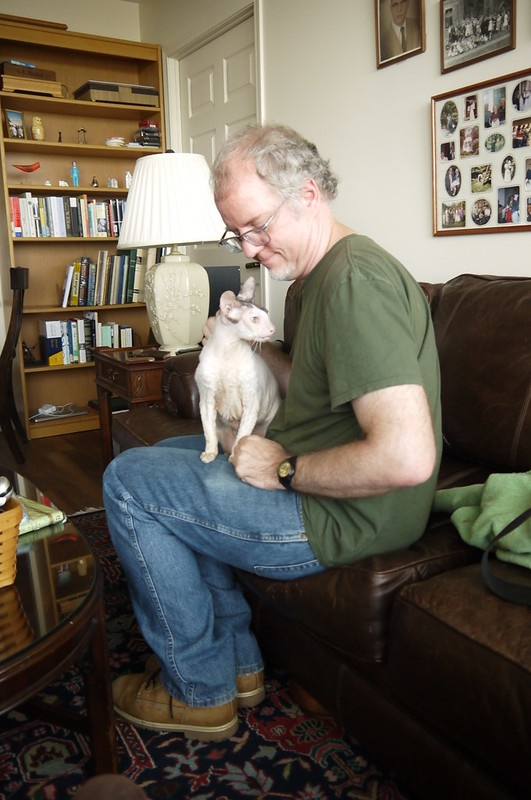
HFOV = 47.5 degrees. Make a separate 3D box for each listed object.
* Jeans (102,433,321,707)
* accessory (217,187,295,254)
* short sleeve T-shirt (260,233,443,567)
[{"bbox_3d":[-0.054,0.350,1.308,0.485,0.587,0.424,5,5,13],"label":"Jeans"},{"bbox_3d":[-0.014,-0.328,1.084,0.101,0.030,0.098,-49,25,-18],"label":"accessory"},{"bbox_3d":[0.126,0.011,1.031,0.333,0.579,0.422,1,5,16],"label":"short sleeve T-shirt"}]
